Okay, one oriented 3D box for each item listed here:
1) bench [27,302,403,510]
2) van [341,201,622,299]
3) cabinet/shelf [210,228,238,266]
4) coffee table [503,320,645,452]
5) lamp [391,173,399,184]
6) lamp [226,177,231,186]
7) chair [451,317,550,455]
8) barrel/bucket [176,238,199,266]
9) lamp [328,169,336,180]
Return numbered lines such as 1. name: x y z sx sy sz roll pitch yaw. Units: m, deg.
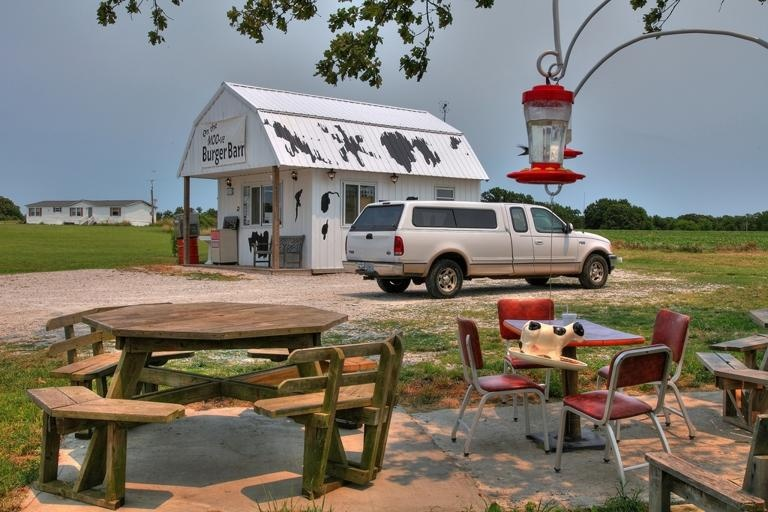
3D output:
1. bench: -1.410 1.285 5.414 3.076 1.375 1.827 1 5 7
2. van: 2.707 -0.328 16.911 7.146 2.185 2.961 -3 3 -25
3. cabinet/shelf: -6.723 -0.377 24.793 1.078 1.512 0.367 -1 6 -15
4. coffee table: 2.002 1.315 6.042 1.331 1.191 1.634 1 1 1
5. lamp: 0.397 -3.034 23.085 0.308 0.316 0.307 -2 3 31
6. lamp: -6.563 -3.119 24.861 0.104 0.304 0.228 3 30 -19
7. chair: 1.125 1.280 6.063 0.882 1.273 0.815 0 5 -4
8. barrel/bucket: -8.631 -0.251 25.871 0.770 1.181 1.819 -2 6 -24
9. lamp: -1.956 -3.018 21.836 0.322 0.344 0.330 -3 5 14
